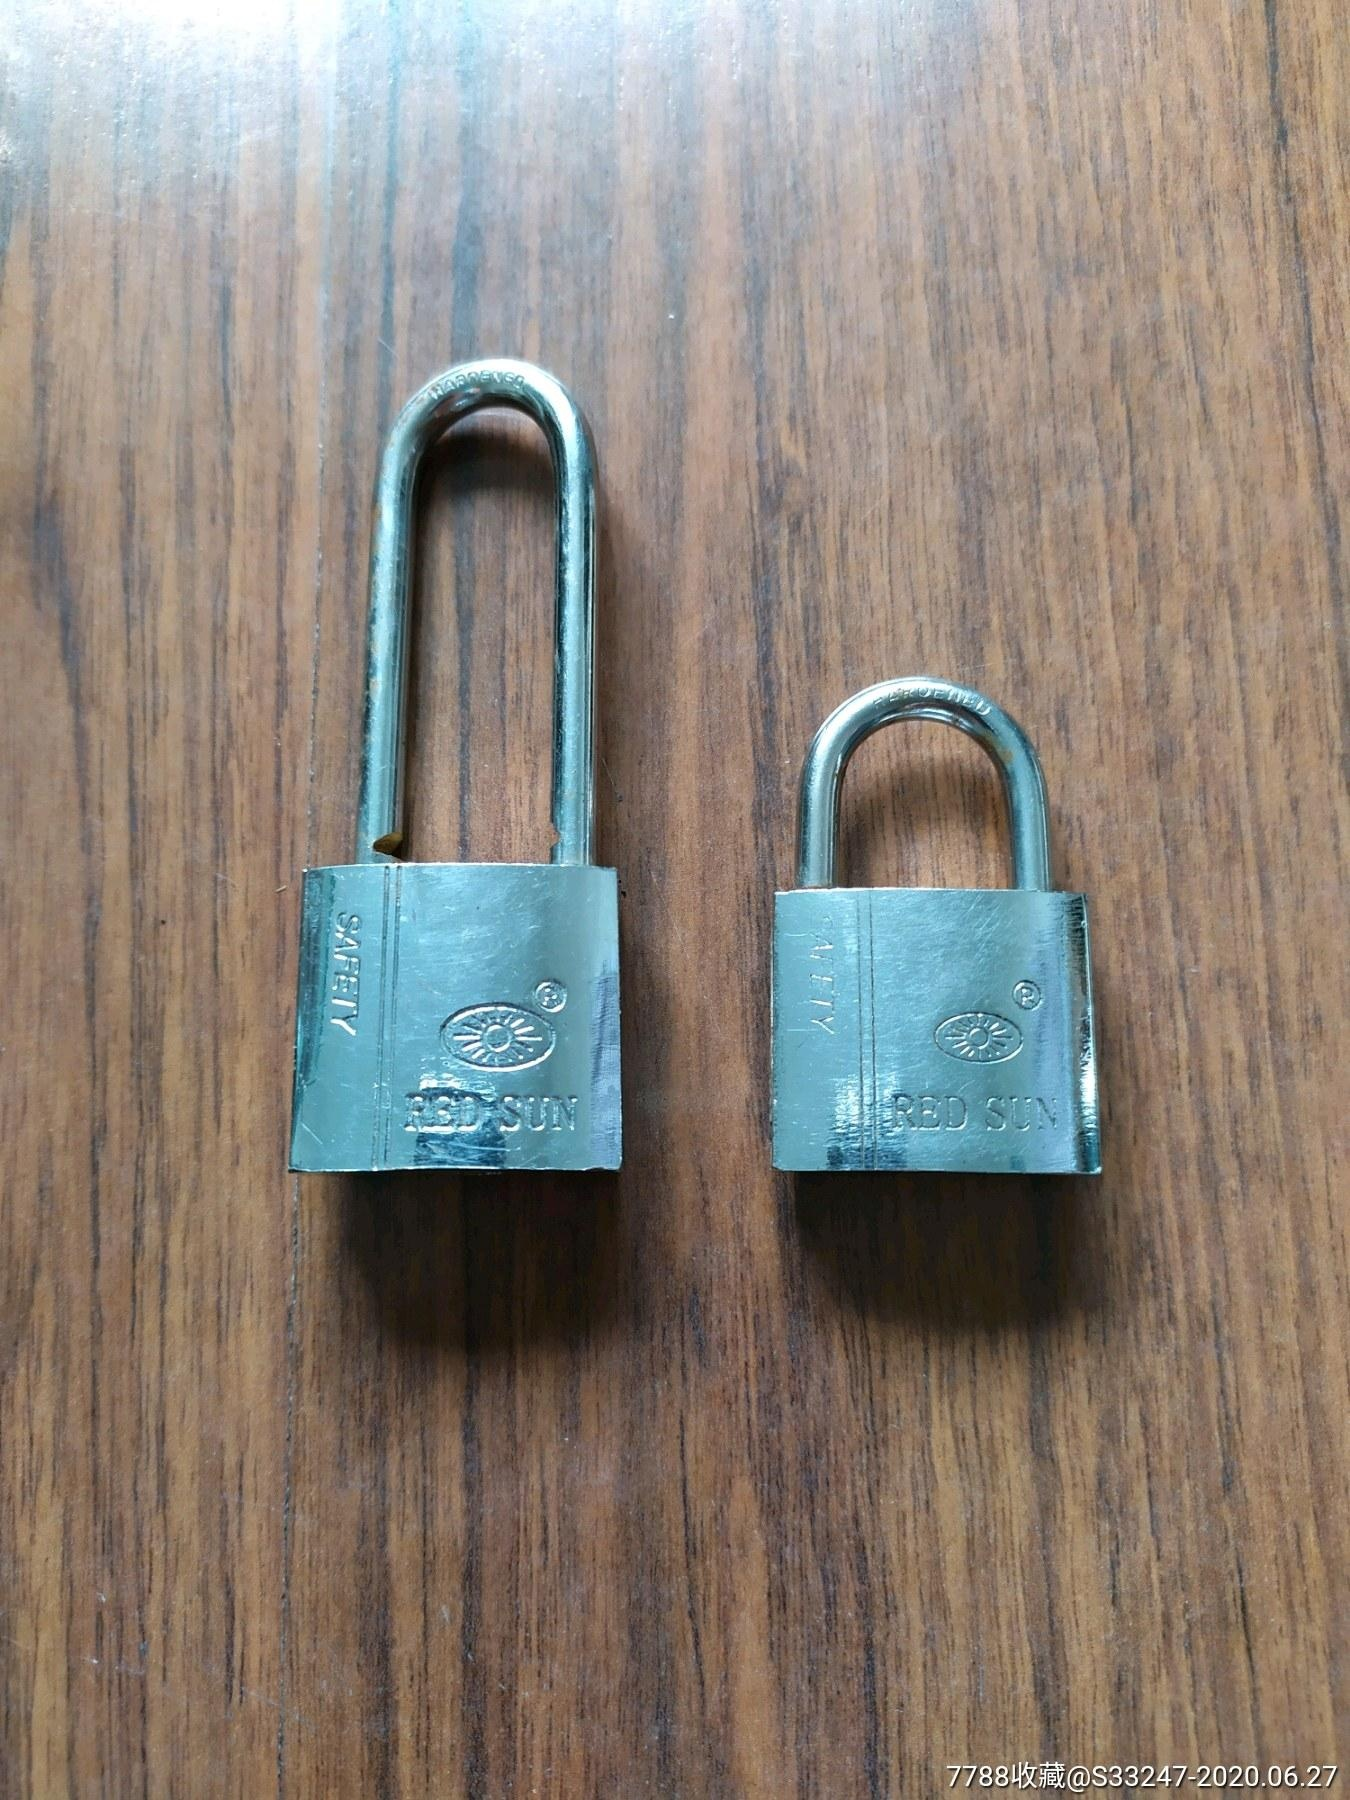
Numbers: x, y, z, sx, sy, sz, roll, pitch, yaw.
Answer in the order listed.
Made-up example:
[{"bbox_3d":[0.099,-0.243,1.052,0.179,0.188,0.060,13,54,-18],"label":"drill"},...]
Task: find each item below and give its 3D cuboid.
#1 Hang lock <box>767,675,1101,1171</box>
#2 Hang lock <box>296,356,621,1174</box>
[{"bbox_3d":[0.155,0.027,1.266,0.185,0.384,0.054,-1,-45,3],"label":"Hang lock"},{"bbox_3d":[-0.120,-0.080,1.295,0.183,0.599,0.063,1,-33,-7],"label":"Hang lock"}]
